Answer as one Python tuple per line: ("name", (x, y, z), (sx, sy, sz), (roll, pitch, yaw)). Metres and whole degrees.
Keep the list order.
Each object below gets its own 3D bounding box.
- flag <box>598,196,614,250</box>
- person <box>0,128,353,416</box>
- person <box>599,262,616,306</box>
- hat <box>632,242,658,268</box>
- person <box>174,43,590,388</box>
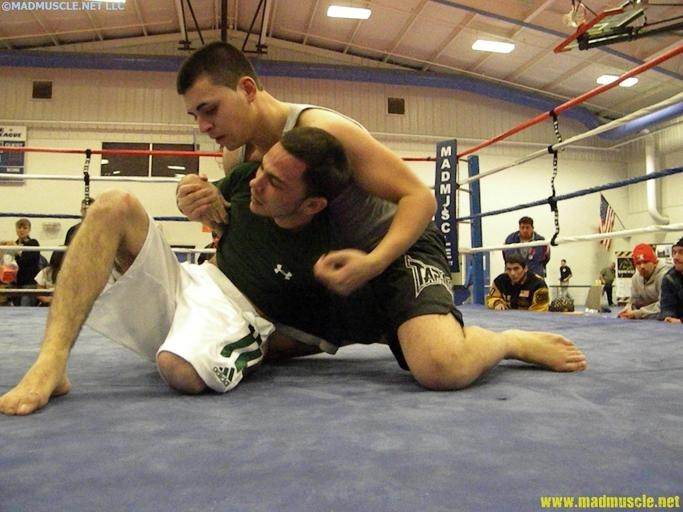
("flag", (5.363, -0.685, 10.785), (0.287, 1.173, 0.885), (0, 2, 26))
("person", (-0.428, -0.017, 1.428), (0.585, 0.498, 0.857), (8, 8, 30))
("person", (5.100, 0.528, 10.241), (0.259, 0.771, 1.259), (0, 2, 26))
("hat", (2.304, -0.008, 4.053), (0.153, 0.166, 0.276), (0, 2, 29))
("person", (0.093, -0.055, 1.836), (1.250, 0.874, 0.840), (3, -12, -26))
